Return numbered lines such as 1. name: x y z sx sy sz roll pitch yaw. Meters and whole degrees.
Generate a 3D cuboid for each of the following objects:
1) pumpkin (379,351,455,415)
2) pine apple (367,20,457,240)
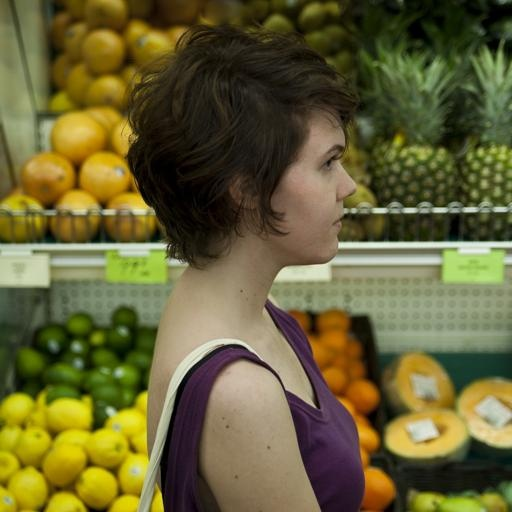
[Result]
1. pumpkin: 0.477 0.386 1.717 0.207 0.144 0.137 5 18 14
2. pine apple: 0.406 -0.316 1.546 0.179 0.560 0.172 -1 22 4
